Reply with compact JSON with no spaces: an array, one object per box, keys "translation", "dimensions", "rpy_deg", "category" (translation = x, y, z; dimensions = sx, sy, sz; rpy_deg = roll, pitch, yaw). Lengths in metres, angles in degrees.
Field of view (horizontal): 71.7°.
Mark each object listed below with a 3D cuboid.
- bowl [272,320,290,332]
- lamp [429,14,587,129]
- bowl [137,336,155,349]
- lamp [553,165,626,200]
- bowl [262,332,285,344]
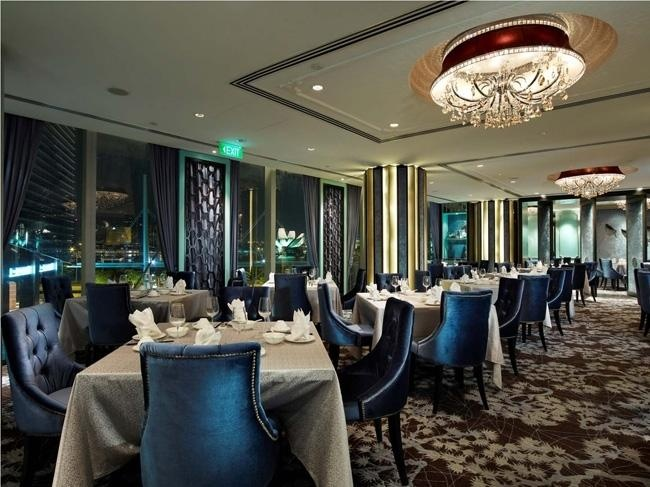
[{"translation":[-0.405,0.726,4.011],"dimensions":[0.163,0.084,0.317],"rpy_deg":[-1,7,-6],"category":"bowl"},{"translation":[2.150,-1.897,5.400],"dimensions":[1.557,0.946,1.617],"rpy_deg":[0,-1,-2],"category":"lamp"},{"translation":[-1.263,0.693,3.173],"dimensions":[0.159,0.068,0.164],"rpy_deg":[0,-1,0],"category":"bowl"},{"translation":[6.304,-1.472,10.820],"dimensions":[1.485,0.752,1.498],"rpy_deg":[-4,3,-15],"category":"lamp"},{"translation":[-0.415,0.767,3.692],"dimensions":[0.173,0.073,0.150],"rpy_deg":[-7,10,-43],"category":"bowl"}]
